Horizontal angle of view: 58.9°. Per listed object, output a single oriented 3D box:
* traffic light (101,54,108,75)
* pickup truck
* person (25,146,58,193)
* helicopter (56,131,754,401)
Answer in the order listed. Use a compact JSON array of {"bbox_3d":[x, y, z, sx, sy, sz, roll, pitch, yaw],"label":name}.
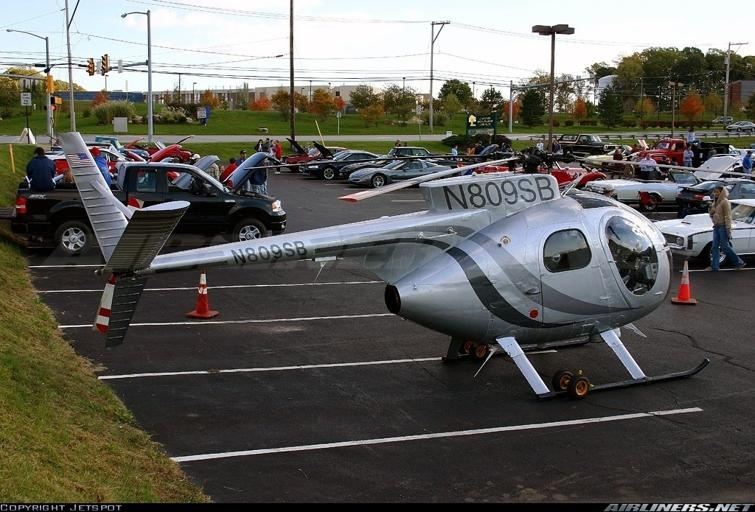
[{"bbox_3d":[-20.987,-14.718,51.668,0.588,1.463,1.090,-6,13,-19],"label":"traffic light"},{"bbox_3d":[-6.629,-1.486,20.180,8.427,1.769,3.240,-3,7,-13],"label":"pickup truck"},{"bbox_3d":[-9.372,-2.405,18.727,0.679,1.225,0.592,-6,13,-21],"label":"person"},{"bbox_3d":[-1.215,-0.160,12.742,15.622,3.947,3.964,-4,18,-13],"label":"helicopter"}]
